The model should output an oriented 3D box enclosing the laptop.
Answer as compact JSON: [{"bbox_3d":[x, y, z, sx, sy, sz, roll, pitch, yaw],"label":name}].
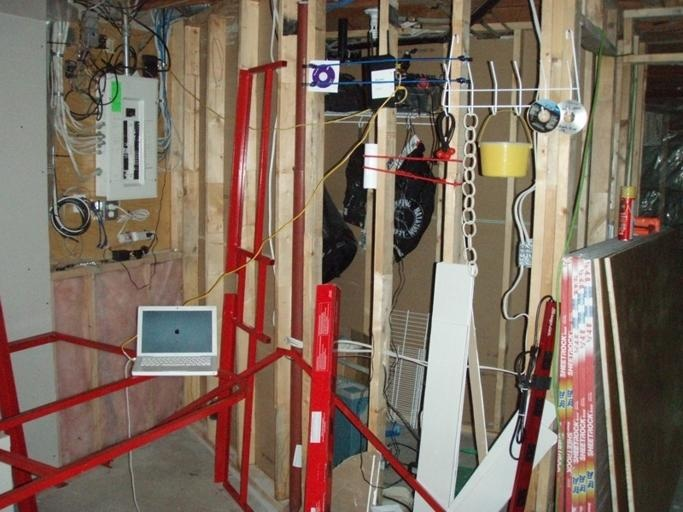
[{"bbox_3d":[-0.942,0.488,3.902,0.461,0.363,0.413,1,7,-15],"label":"laptop"}]

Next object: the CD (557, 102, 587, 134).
[{"bbox_3d":[1.088,-0.661,3.215,0.142,0.153,0.114,-3,8,-41],"label":"CD"}]

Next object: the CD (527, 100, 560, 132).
[{"bbox_3d":[0.954,-0.665,3.207,0.145,0.149,0.113,-1,7,-34],"label":"CD"}]
